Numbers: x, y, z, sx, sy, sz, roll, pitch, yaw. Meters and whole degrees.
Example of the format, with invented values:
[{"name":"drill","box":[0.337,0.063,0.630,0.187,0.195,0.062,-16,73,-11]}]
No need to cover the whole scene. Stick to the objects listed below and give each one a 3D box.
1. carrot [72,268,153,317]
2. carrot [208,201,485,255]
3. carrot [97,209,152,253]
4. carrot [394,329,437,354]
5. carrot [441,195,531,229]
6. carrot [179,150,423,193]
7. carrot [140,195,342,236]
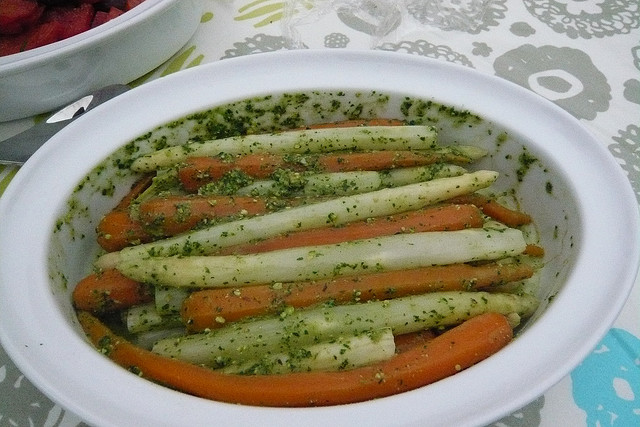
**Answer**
[{"name":"carrot","box":[-0.642,0.248,1.894,0.254,0.110,0.103,-9,109,-18]},{"name":"carrot","box":[0.065,0.053,1.872,0.579,0.073,0.076,-7,41,-8]},{"name":"carrot","box":[-0.665,0.073,1.986,0.131,0.228,0.113,3,101,-28]},{"name":"carrot","box":[0.280,0.381,1.800,0.089,0.026,0.084,-12,23,17]},{"name":"carrot","box":[0.549,0.014,2.005,0.378,0.077,0.085,-5,63,-22]},{"name":"carrot","box":[-0.080,-0.133,1.979,0.606,0.100,0.086,-4,81,-5]},{"name":"carrot","box":[-0.271,-0.007,1.895,0.706,0.133,0.129,-4,59,26]}]
